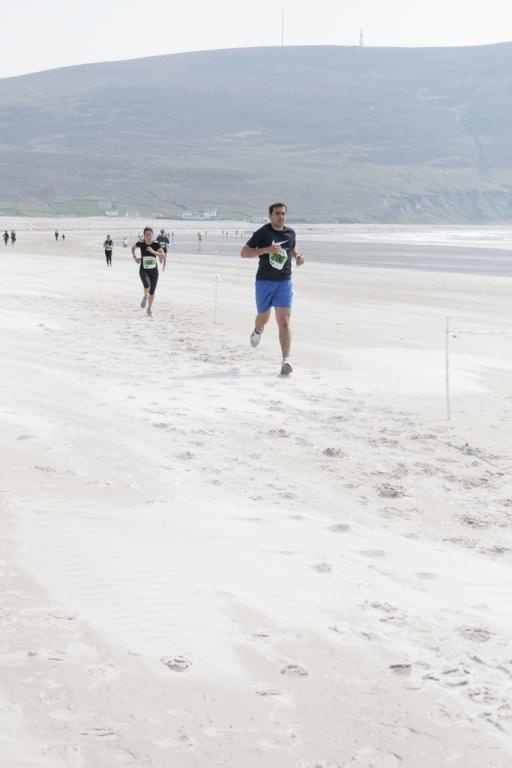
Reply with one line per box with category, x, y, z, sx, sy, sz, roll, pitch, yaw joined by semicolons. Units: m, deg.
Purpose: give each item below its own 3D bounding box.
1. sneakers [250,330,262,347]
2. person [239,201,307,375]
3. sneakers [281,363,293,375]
sneakers;0.012;-0.475;9.957;0.081;0.202;0.083;0;20;-13
person;0.147;-0.985;9.387;0.595;1.651;1.596;4;7;2
sneakers;0.294;-0.135;8.745;0.070;0.090;0.135;0;-20;-5
